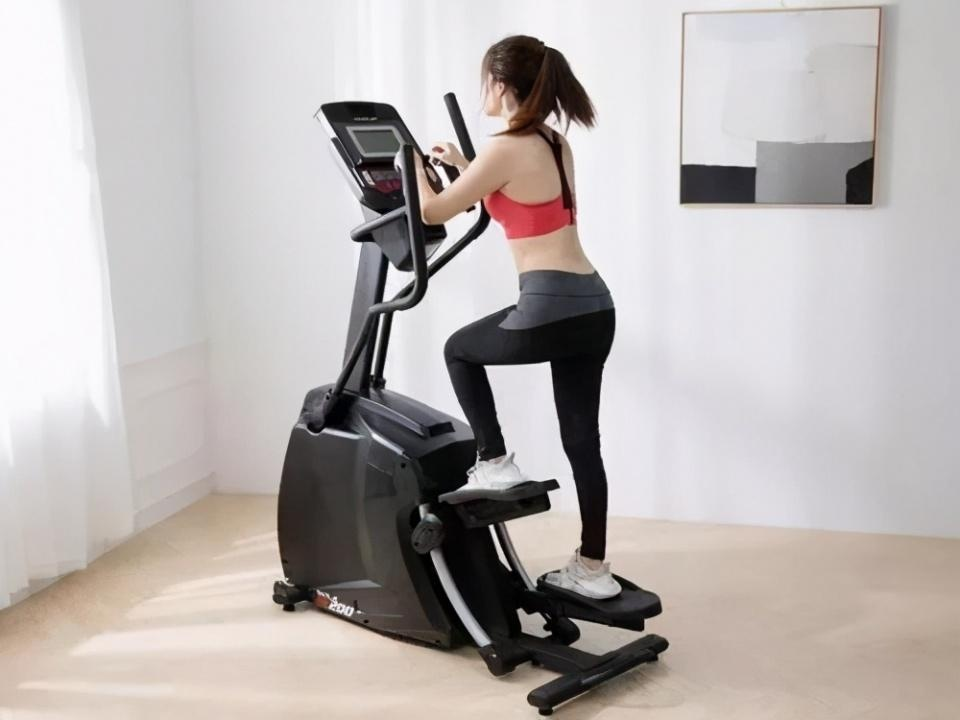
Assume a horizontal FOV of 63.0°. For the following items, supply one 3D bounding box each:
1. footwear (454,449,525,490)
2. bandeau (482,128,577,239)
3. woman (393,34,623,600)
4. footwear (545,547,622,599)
[{"bbox_3d":[0.028,0.365,2.607,0.096,0.102,0.236,-7,1,-38],"label":"footwear"},{"bbox_3d":[0.145,-0.593,2.520,0.269,0.396,0.288,-27,30,-37],"label":"bandeau"},{"bbox_3d":[0.142,-0.108,2.547,0.622,1.788,0.389,-2,14,-4],"label":"woman"},{"bbox_3d":[0.328,0.721,2.723,0.305,0.153,0.112,8,0,38],"label":"footwear"}]
